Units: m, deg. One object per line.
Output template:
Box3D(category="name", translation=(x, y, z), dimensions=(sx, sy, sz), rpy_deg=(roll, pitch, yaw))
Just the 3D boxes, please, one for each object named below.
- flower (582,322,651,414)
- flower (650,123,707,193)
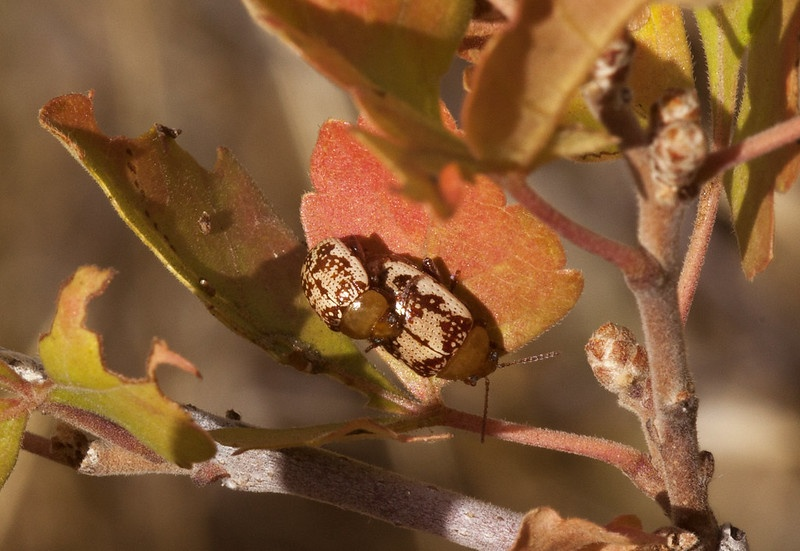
Box3D(category="flower", translation=(0.715, 0.297, 3.552), dimensions=(0.170, 0.316, 0.141), rpy_deg=(-27, 0, -37))
Box3D(category="flower", translation=(0.771, -0.334, 2.952), dimensions=(0.148, 0.177, 0.092), rpy_deg=(-23, 44, -12))
